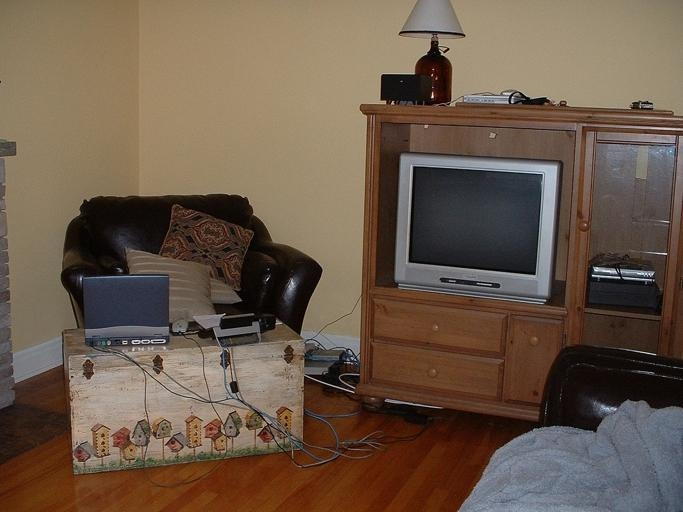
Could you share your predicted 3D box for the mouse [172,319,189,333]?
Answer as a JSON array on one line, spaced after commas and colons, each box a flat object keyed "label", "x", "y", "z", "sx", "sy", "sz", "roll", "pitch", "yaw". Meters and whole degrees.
[{"label": "mouse", "x": -0.780, "y": 0.337, "z": 2.835, "sx": 0.060, "sy": 0.058, "sz": 0.066, "roll": 6, "pitch": 8, "yaw": 30}]

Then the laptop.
[{"label": "laptop", "x": -1.019, "y": 0.206, "z": 2.794, "sx": 0.442, "sy": 0.343, "sz": 0.371, "roll": -4, "pitch": 15, "yaw": -36}]

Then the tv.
[{"label": "tv", "x": 0.739, "y": -0.174, "z": 3.275, "sx": 0.853, "sy": 0.739, "sz": 0.463, "roll": 5, "pitch": 9, "yaw": 12}]
